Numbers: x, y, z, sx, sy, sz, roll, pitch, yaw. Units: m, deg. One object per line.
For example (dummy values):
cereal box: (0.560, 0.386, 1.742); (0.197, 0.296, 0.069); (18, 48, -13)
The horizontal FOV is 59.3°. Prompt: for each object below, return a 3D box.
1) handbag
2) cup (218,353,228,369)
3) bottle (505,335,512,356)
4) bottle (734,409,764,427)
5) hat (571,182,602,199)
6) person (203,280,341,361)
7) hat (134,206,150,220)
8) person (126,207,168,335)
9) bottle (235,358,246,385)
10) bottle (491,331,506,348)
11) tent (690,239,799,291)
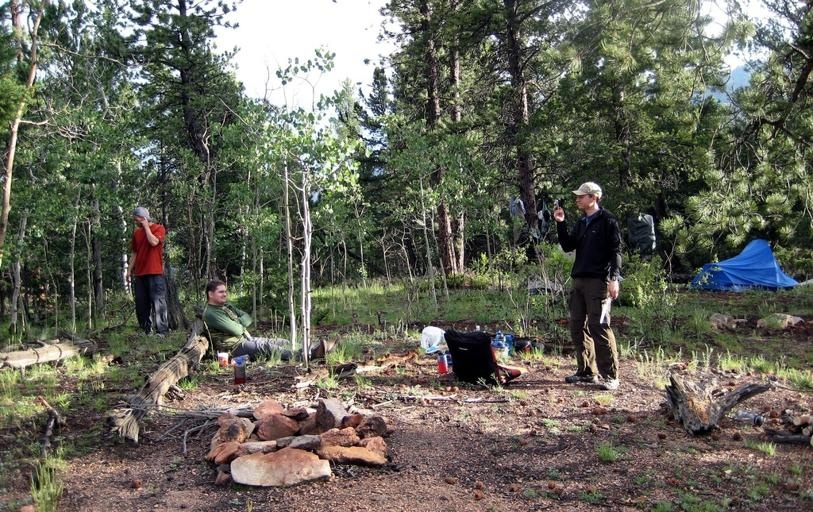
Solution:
handbag: (1.367, 1.778, 12.743); (0.798, 0.905, 1.118); (-2, 0, 31)
cup: (-3.427, 1.972, 13.381); (0.211, 0.257, 0.213); (1, 7, 0)
bottle: (2.010, 1.758, 13.882); (0.192, 0.347, 0.120); (5, 2, 36)
bottle: (5.448, 2.572, 11.331); (0.337, 0.157, 0.242); (26, 49, 36)
hat: (3.197, -1.184, 12.507); (0.393, 0.253, 0.306); (12, 3, 19)
person: (-2.650, 1.291, 13.822); (2.482, 1.469, 1.124); (3, 7, -1)
hat: (-5.525, -0.887, 14.876); (0.216, 0.303, 0.299); (3, 9, -2)
person: (-5.492, 0.332, 15.130); (0.745, 2.685, 0.957); (-3, -3, -21)
bottle: (-2.939, 2.022, 12.549); (0.199, 0.477, 0.224); (-3, -3, -16)
bottle: (1.805, 1.649, 13.819); (0.229, 0.356, 0.111); (11, -1, 24)
tent: (10.737, 0.492, 22.743); (2.611, 1.297, 2.654); (-3, 1, 4)
